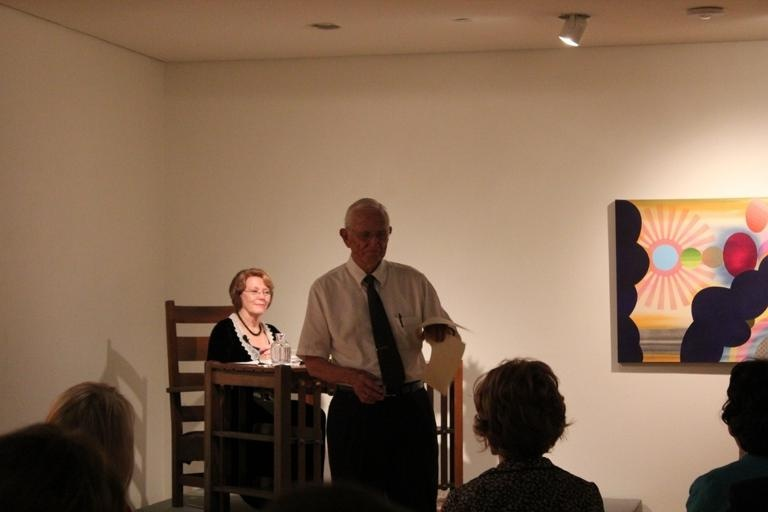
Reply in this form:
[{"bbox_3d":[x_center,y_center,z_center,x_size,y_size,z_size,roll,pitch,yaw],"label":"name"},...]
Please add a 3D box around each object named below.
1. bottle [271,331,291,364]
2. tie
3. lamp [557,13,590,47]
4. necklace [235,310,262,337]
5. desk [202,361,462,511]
[{"bbox_3d":[-0.707,0.663,4.982,0.168,0.239,0.172,-1,-8,0],"label":"bottle"},{"bbox_3d":[-0.007,0.408,3.655,0.137,0.594,0.040,-15,-14,-8],"label":"tie"},{"bbox_3d":[1.381,-1.655,5.254,0.225,0.222,0.193,8,12,6],"label":"lamp"},{"bbox_3d":[-1.060,0.539,5.539,0.016,0.200,0.165,-24,11,35],"label":"necklace"},{"bbox_3d":[-0.388,0.992,3.980,0.764,0.966,1.289,0,-4,14],"label":"desk"}]
